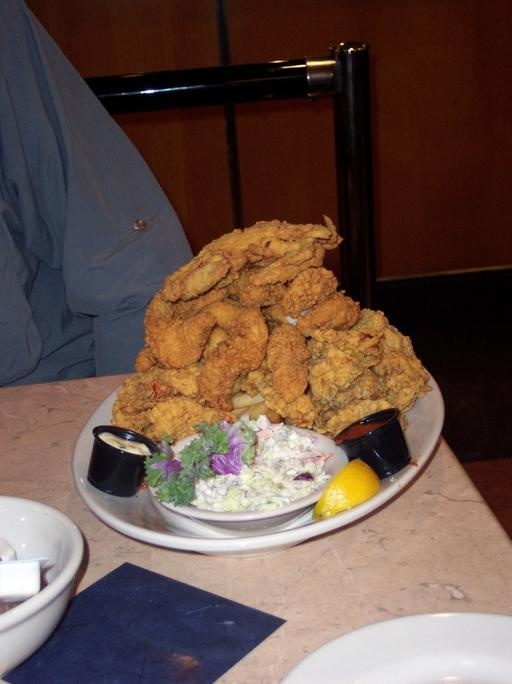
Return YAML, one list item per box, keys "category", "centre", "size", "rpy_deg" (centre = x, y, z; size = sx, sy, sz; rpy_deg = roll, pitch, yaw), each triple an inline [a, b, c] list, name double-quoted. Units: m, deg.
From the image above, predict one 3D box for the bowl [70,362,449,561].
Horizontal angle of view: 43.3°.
- category: "bowl"
  centre: [-0.015, 0.148, 0.685]
  size: [0.277, 0.050, 0.247]
  rpy_deg: [-5, 21, 1]

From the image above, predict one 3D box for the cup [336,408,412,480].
- category: "cup"
  centre: [0.136, 0.115, 0.819]
  size: [0.088, 0.062, 0.084]
  rpy_deg: [-30, 9, 5]

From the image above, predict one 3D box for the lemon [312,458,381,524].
- category: "lemon"
  centre: [0.096, 0.161, 0.710]
  size: [0.081, 0.026, 0.045]
  rpy_deg: [-27, 49, -25]

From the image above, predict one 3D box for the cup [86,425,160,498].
- category: "cup"
  centre: [-0.177, 0.141, 0.819]
  size: [0.091, 0.058, 0.089]
  rpy_deg: [19, 8, -3]
